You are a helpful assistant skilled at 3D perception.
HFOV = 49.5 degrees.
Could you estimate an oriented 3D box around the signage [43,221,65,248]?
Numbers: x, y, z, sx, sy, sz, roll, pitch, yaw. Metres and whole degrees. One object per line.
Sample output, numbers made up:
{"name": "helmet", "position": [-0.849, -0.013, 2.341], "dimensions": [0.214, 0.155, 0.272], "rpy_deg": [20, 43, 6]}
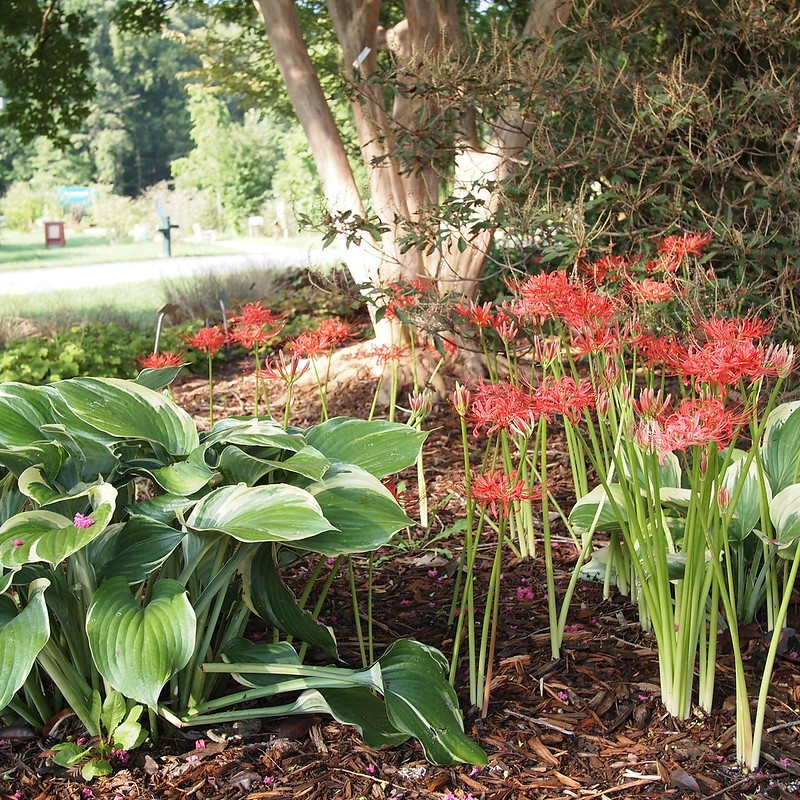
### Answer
{"name": "signage", "position": [-4.329, -2.110, 11.012], "dimensions": [0.360, 0.324, 0.310], "rpy_deg": [-2, 8, -13]}
